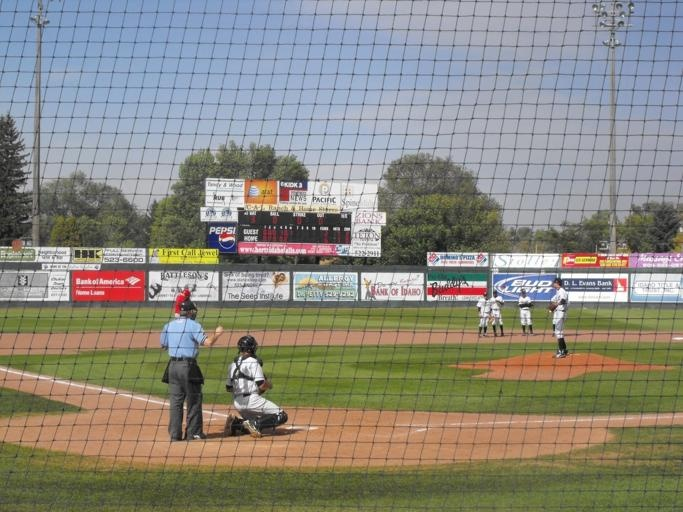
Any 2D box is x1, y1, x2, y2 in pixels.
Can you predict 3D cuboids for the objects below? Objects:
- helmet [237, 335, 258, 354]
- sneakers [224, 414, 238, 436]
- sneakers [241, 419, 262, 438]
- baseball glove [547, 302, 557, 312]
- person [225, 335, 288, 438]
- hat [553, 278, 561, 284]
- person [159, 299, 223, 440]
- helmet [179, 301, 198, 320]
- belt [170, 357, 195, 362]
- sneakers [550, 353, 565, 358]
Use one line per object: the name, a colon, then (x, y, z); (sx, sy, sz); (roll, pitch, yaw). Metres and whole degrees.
helmet: (-2.059, 1.908, 32.540); (0.380, 0.414, 0.455); (4, 8, 3)
sneakers: (-2.432, 3.688, 32.556); (0.214, 0.503, 0.182); (9, -10, -7)
sneakers: (-1.946, 3.730, 32.369); (0.193, 0.566, 0.240); (-41, -8, -18)
baseball glove: (5.598, 1.353, 39.637); (0.274, 0.273, 0.193); (-5, 16, -11)
person: (-1.931, 2.803, 32.405); (1.227, 2.116, 0.574); (-2, 6, -3)
hat: (5.764, 0.653, 40.082); (0.153, 0.165, 0.132); (-5, -17, 44)
person: (-3.321, 2.456, 32.063); (1.094, 2.973, 0.676); (-1, 6, 1)
helmet: (-3.273, 1.146, 32.177); (0.328, 0.430, 0.401); (4, 16, 3)
belt: (-3.409, 2.188, 32.045); (0.520, 0.102, 0.160); (0, 6, 8)
sneakers: (5.722, 2.614, 39.606); (0.309, 0.132, 0.117); (2, -1, 4)
